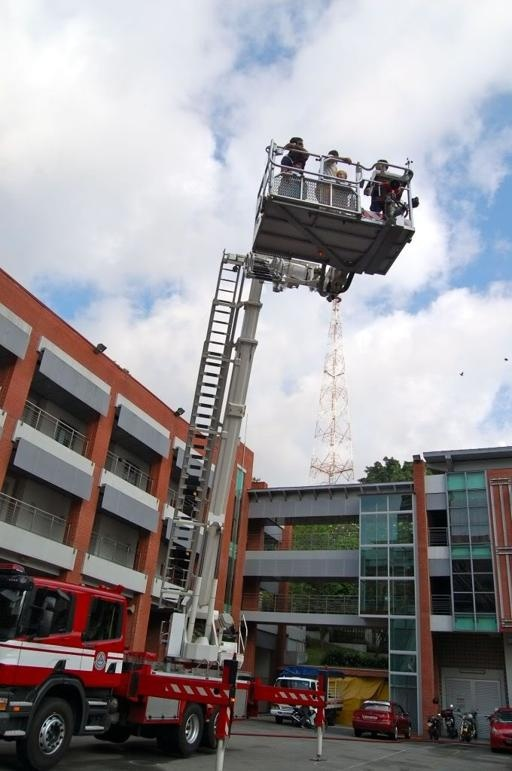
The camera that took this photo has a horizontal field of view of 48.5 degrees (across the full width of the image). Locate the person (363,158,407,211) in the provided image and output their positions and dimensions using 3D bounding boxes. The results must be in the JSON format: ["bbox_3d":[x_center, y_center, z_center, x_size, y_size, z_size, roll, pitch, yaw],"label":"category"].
[{"bbox_3d":[2.218,-3.355,9.678,0.706,0.885,0.330,7,-23,1],"label":"person"}]

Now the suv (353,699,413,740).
[{"bbox_3d":[5.110,13.177,22.696,1.402,1.147,3.310,-8,-26,21],"label":"suv"}]
